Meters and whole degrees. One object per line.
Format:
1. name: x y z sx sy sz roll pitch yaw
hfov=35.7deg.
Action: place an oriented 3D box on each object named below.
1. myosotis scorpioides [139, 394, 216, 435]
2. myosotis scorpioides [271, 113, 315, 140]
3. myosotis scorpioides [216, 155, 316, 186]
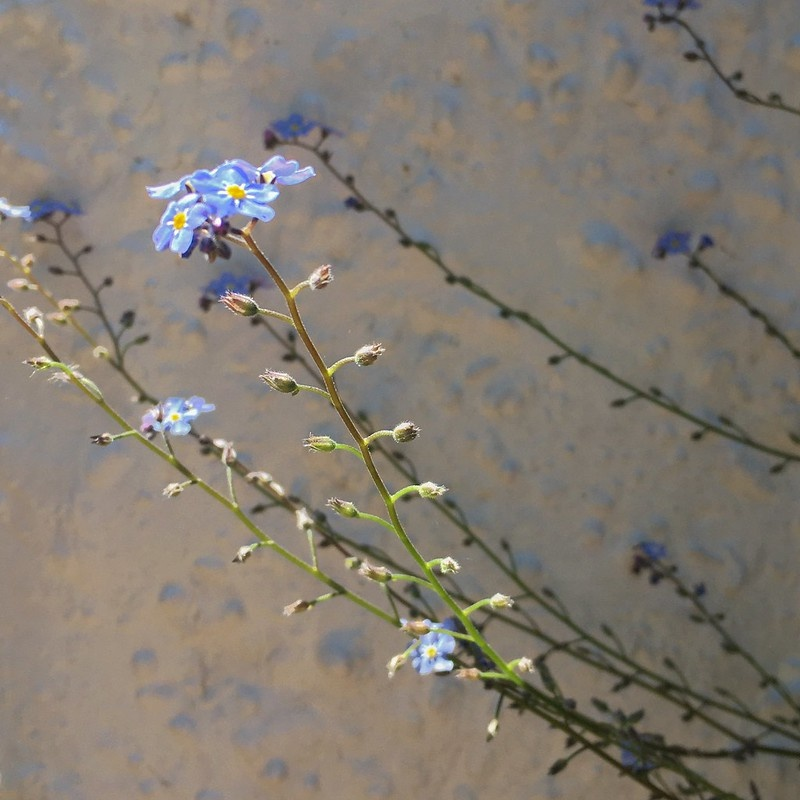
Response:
1. myosotis scorpioides: -0.264 0.014 1.486 0.063 0.014 0.059 0 25 18
2. myosotis scorpioides: -0.156 -0.393 1.789 0.043 0.011 0.042 -3 72 0
3. myosotis scorpioides: -0.130 -0.235 1.284 0.066 0.014 0.062 -1 26 -17
